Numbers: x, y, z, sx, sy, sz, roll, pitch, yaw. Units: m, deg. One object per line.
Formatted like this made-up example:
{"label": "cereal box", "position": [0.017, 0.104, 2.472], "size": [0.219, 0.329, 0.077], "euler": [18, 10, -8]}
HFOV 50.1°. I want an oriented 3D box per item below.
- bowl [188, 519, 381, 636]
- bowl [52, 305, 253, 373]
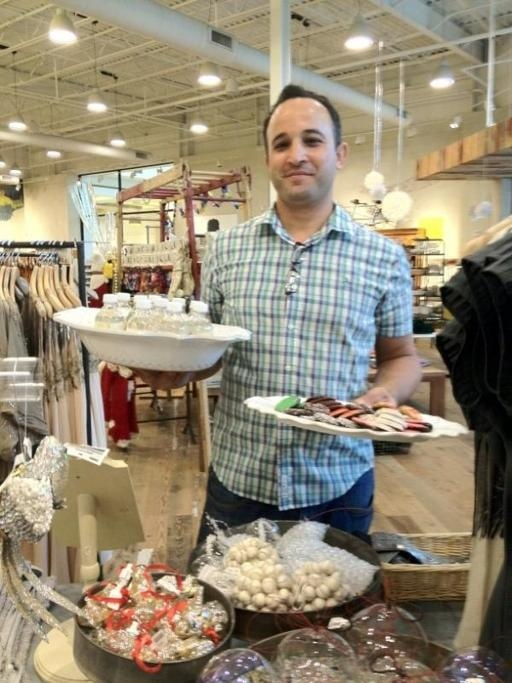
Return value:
{"label": "bowl", "position": [0.099, 0.316, 0.760], "size": [0.144, 0.048, 0.137], "euler": [1, 14, 0]}
{"label": "bowl", "position": [-0.229, -0.005, 1.079], "size": [0.451, 0.109, 0.234], "euler": [3, 8, 37]}
